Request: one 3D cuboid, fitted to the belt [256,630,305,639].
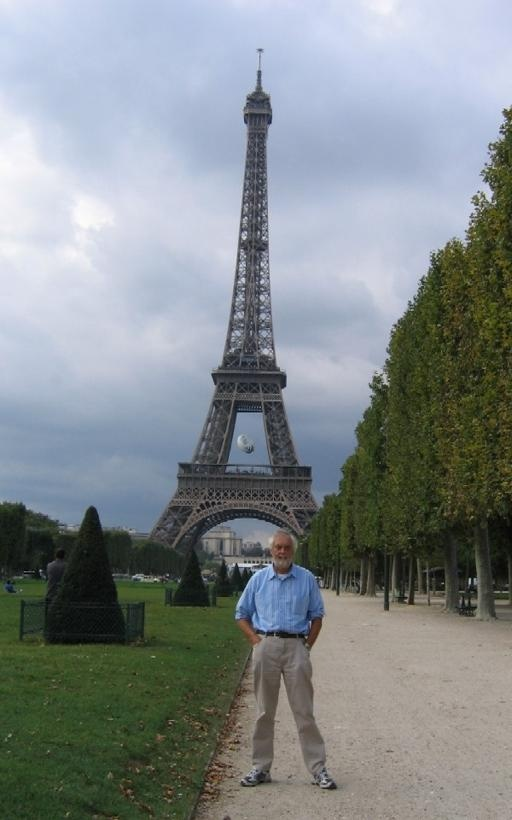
[{"bbox_3d":[0.205,1.714,5.316,0.314,0.059,0.107,5,-11,1],"label":"belt"}]

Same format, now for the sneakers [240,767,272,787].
[{"bbox_3d":[0.003,2.773,5.298,0.257,0.140,0.097,18,-23,-40],"label":"sneakers"}]

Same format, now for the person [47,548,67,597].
[{"bbox_3d":[-4.054,3.400,14.384,0.331,0.990,0.897,6,-11,-15],"label":"person"}]

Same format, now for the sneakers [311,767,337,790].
[{"bbox_3d":[0.500,2.699,5.103,0.074,0.118,0.221,4,-29,-15],"label":"sneakers"}]

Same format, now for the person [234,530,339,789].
[{"bbox_3d":[0.231,1.901,5.353,0.786,1.869,0.551,4,-10,-1],"label":"person"}]
